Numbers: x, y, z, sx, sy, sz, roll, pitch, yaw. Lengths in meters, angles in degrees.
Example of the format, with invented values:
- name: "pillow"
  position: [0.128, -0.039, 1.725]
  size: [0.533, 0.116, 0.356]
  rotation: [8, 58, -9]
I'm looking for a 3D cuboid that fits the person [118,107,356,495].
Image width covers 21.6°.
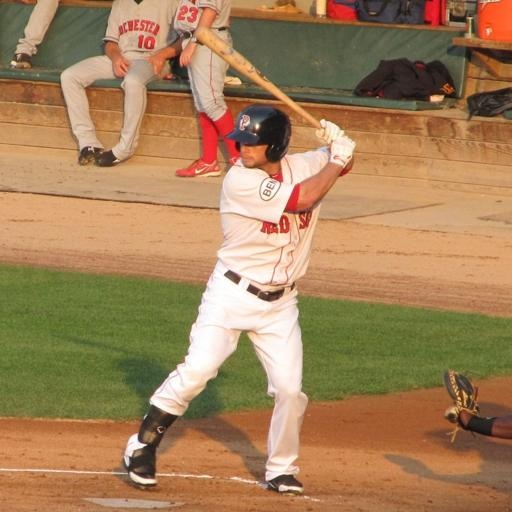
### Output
- name: "person"
  position: [-0.072, 0.273, 9.037]
  size: [1.407, 2.502, 1.013]
  rotation: [2, 17, -23]

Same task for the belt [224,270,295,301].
- name: "belt"
  position: [0.060, 0.149, 9.023]
  size: [0.261, 0.062, 0.273]
  rotation: [26, 0, -35]

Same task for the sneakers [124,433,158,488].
- name: "sneakers"
  position: [-0.763, 1.377, 8.951]
  size: [0.256, 0.336, 0.176]
  rotation: [11, 16, 12]

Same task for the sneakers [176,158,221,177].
- name: "sneakers"
  position: [-0.589, -0.932, 14.213]
  size: [0.499, 0.169, 0.166]
  rotation: [0, 3, 0]

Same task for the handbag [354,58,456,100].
- name: "handbag"
  position: [1.628, -1.901, 14.536]
  size: [0.593, 0.283, 0.782]
  rotation: [12, 16, 44]

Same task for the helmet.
- name: "helmet"
  position: [0.036, -0.815, 8.952]
  size: [0.442, 0.318, 0.340]
  rotation: [-6, 14, -42]

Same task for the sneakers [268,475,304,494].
- name: "sneakers"
  position: [0.205, 1.528, 9.033]
  size: [0.250, 0.093, 0.101]
  rotation: [4, 3, 2]

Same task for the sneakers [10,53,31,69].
- name: "sneakers"
  position: [-2.739, -2.285, 15.743]
  size: [0.189, 0.111, 0.228]
  rotation: [6, 45, -3]

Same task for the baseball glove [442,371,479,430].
- name: "baseball glove"
  position: [1.447, 0.989, 9.444]
  size: [0.290, 0.345, 0.157]
  rotation: [1, -9, -43]

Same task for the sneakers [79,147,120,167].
- name: "sneakers"
  position: [-1.703, -1.080, 14.620]
  size: [0.397, 0.138, 0.210]
  rotation: [13, 2, -21]
